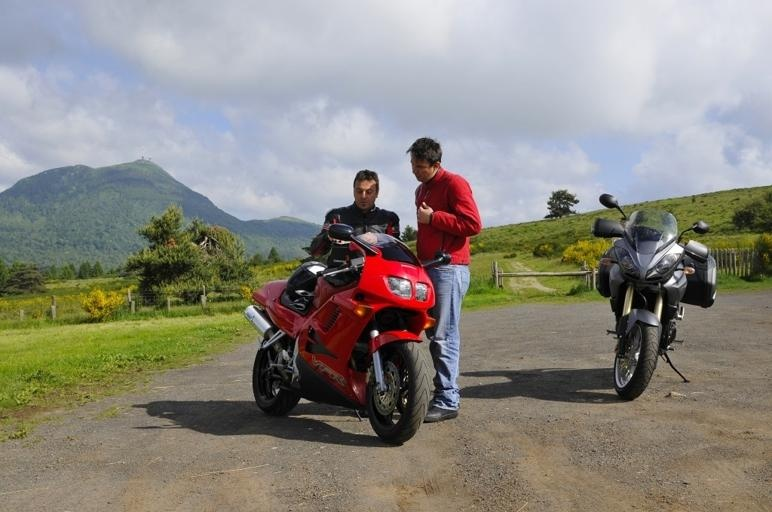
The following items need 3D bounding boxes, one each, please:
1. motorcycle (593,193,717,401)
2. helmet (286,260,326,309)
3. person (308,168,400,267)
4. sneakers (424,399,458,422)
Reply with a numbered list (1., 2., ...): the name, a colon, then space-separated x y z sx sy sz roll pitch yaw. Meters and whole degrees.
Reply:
1. motorcycle: 3.709 0.471 6.641 2.188 2.002 1.003 -2 0 -35
2. helmet: -1.047 0.353 5.808 0.466 0.630 0.218 16 -8 41
3. person: -0.344 -0.341 6.306 1.245 1.747 1.019 4 -13 -4
4. sneakers: 0.656 1.890 5.564 0.458 0.198 0.171 8 -12 -29
